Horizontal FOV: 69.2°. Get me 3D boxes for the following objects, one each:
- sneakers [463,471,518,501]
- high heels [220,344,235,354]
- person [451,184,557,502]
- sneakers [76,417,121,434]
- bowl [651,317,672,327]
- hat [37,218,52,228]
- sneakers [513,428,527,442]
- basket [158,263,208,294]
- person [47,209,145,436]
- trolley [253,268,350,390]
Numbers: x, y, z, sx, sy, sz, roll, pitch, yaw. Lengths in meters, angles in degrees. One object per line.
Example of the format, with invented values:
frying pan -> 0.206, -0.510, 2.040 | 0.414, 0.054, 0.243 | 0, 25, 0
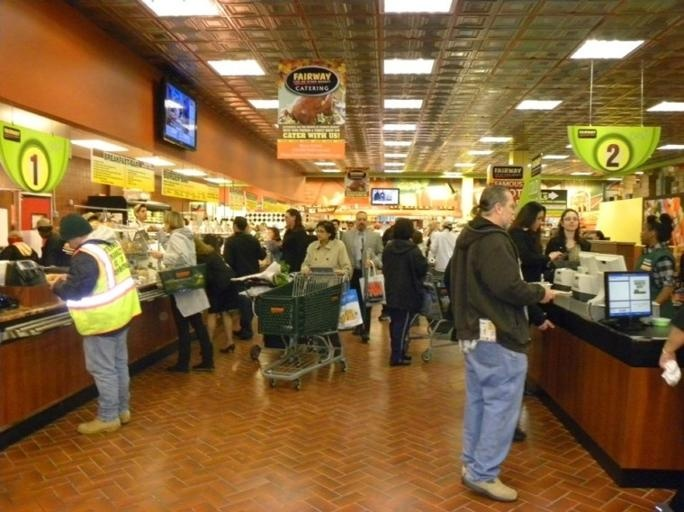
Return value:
sneakers -> 1.120, 1.734, 3.755 | 0.414, 0.136, 0.141 | 2, 3, 20
high heels -> -1.633, 1.342, 7.119 | 0.202, 0.108, 0.107 | 5, 8, 27
person -> 1.148, 0.637, 3.752 | 0.471, 2.323, 0.630 | -3, 10, -27
sneakers -> -2.244, 1.564, 4.552 | 0.332, 0.107, 0.149 | 5, -4, -11
bowl -> 2.610, 0.541, 4.055 | 0.178, 0.059, 0.177 | 1, -4, 0
hat -> -4.515, -0.495, 7.482 | 0.151, 0.086, 0.181 | 4, 2, -2
sneakers -> 1.630, 1.655, 4.568 | 0.135, 0.055, 0.138 | -2, 1, -12
basket -> -1.971, 0.246, 5.951 | 0.687, 0.343, 0.344 | -10, 1, -32
person -> -2.216, 0.731, 4.559 | 0.356, 1.768, 0.636 | 6, 10, 30
trolley -> -0.458, 0.855, 6.122 | 0.944, 1.042, 1.373 | 0, -1, 14
